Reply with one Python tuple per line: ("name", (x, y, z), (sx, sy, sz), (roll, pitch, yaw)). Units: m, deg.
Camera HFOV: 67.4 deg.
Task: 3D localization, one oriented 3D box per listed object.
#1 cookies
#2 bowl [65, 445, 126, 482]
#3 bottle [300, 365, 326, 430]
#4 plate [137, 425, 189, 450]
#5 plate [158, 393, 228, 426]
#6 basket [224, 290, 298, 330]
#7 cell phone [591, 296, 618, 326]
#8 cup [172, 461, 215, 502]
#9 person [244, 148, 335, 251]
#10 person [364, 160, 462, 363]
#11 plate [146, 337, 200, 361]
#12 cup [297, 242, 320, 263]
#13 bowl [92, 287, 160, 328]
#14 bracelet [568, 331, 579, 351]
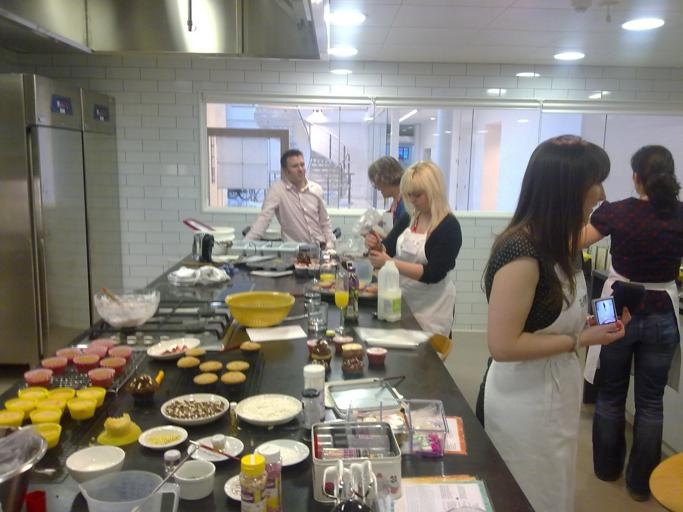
("cookies", (-0.477, 0.421, 2.006), (0.307, 0.077, 0.370), (-3, 11, -9))
("bowl", (-0.712, 0.589, 1.479), (0.102, 0.048, 0.104), (2, 13, 0))
("bottle", (-0.096, 0.458, 1.716), (0.079, 0.182, 0.191), (-2, 11, -5))
("plate", (-0.564, 0.574, 1.613), (0.137, 0.039, 0.114), (4, 12, 23))
("plate", (-0.493, 0.519, 1.736), (0.215, 0.052, 0.172), (5, 12, 28))
("basket", (-0.424, 0.261, 2.548), (0.304, 0.151, 0.347), (-8, 13, -32))
("cell phone", (1.104, 0.233, 2.145), (0.111, 0.154, 0.016), (1, -15, -9))
("cup", (-0.422, 0.648, 1.451), (0.114, 0.063, 0.113), (-4, -8, -1))
("person", (-0.565, -0.560, 5.123), (0.850, 1.543, 0.455), (-9, 29, -21))
("person", (0.499, 0.180, 3.438), (0.563, 1.571, 0.558), (-25, 31, -34))
("plate", (-0.711, 0.383, 2.140), (0.109, 0.026, 0.106), (-17, 22, -38))
("cup", (-0.249, -0.023, 3.913), (0.157, 0.162, 0.297), (2, -8, 2))
("bowl", (-0.984, 0.224, 2.298), (0.202, 0.117, 0.206), (-1, 10, 0))
("bracelet", (0.873, 0.320, 1.926), (0.051, 0.051, 0.051), (19, -33, -20))
